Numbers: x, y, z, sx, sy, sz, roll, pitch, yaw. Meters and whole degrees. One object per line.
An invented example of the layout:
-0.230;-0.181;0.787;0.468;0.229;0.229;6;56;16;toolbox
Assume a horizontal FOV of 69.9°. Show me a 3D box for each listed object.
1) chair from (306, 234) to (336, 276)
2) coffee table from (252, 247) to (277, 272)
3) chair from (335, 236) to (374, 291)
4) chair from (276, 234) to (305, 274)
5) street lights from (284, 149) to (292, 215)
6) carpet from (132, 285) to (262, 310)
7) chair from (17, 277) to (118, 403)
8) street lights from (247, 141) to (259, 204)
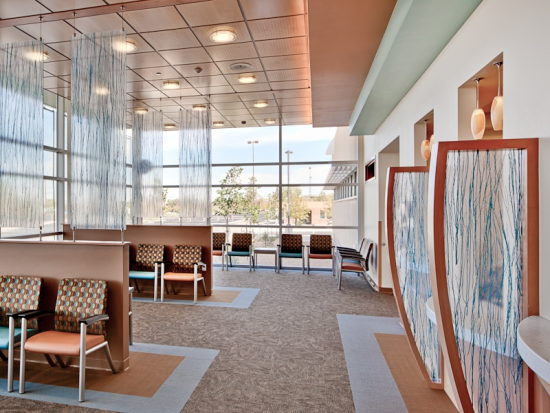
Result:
1.156;1.226;10.023;0.980;1.352;0.834;0;-7;5;chair
-0.236;1.410;10.453;0.624;0.595;0.565;0;-7;5;coffee table
1.758;1.257;8.770;0.810;1.028;1.461;1;5;11;chair
0.404;1.220;10.470;0.701;0.945;0.966;0;5;2;chair
0.384;-0.564;11.036;0.223;2.045;0.220;0;5;-2;street lights
-1.264;1.745;7.770;1.912;0.053;1.465;1;5;11;carpet
-2.291;1.484;4.958;1.049;1.617;1.256;-1;-5;9;chair
-0.612;-1.010;11.156;0.318;1.762;0.164;0;5;-3;street lights
